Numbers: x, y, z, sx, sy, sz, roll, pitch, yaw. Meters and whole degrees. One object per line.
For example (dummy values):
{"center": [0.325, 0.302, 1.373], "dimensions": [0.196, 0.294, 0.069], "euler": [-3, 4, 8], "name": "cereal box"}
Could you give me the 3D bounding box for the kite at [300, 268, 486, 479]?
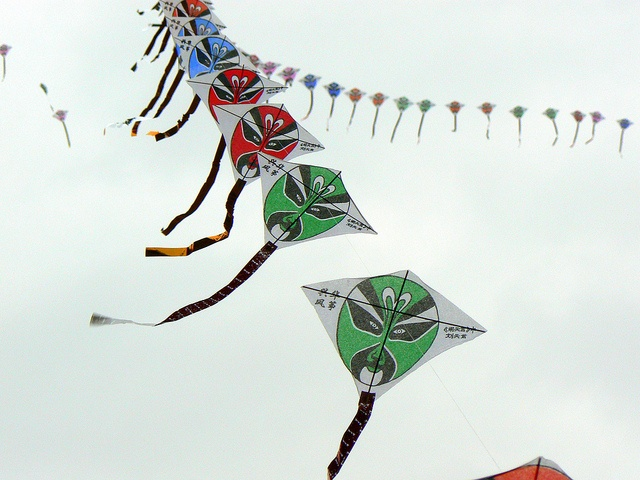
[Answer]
{"center": [1.623, 2.244, 28.013], "dimensions": [3.417, 2.381, 2.693], "euler": [-20, -53, 4], "name": "kite"}
